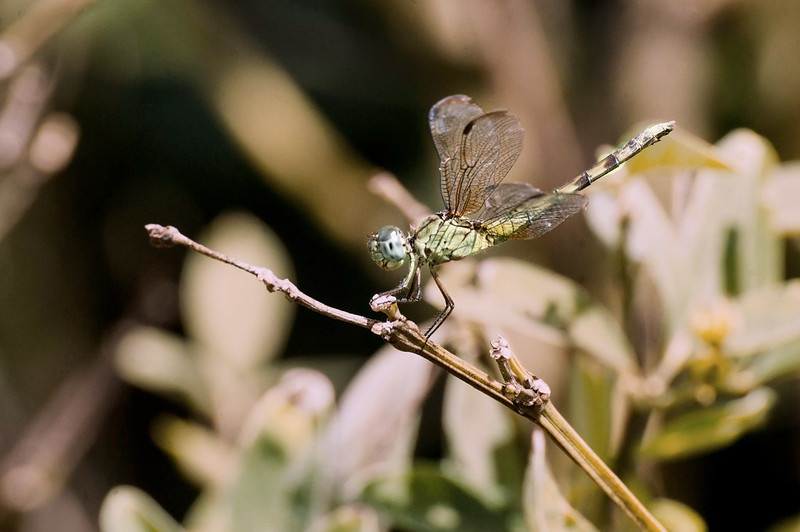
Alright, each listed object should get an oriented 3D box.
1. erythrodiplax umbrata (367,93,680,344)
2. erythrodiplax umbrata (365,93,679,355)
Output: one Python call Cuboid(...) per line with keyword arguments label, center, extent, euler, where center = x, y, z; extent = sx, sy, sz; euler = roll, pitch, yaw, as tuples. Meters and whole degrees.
Cuboid(label="erythrodiplax umbrata", center=(0.130, -0.102, 1.068), extent=(0.330, 0.240, 0.135), euler=(-30, 35, -16))
Cuboid(label="erythrodiplax umbrata", center=(0.112, -0.124, 1.100), extent=(0.365, 0.278, 0.155), euler=(-35, 40, -14))
